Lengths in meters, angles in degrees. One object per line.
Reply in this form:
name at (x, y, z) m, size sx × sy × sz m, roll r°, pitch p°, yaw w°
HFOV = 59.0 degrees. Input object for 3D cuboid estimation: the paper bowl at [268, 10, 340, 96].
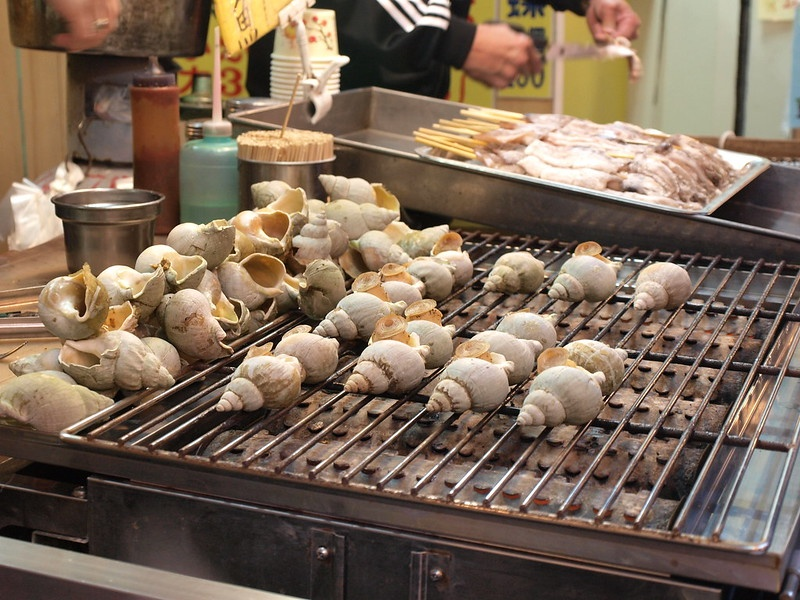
paper bowl at (-0.288, -0.796, 2.331) m, size 0.295 × 0.334 × 0.252 m, roll -2°, pitch 17°, yaw -9°

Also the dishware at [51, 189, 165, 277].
dishware at (-0.552, -0.133, 1.402) m, size 0.193 × 0.136 × 0.176 m, roll 1°, pitch 17°, yaw -5°
